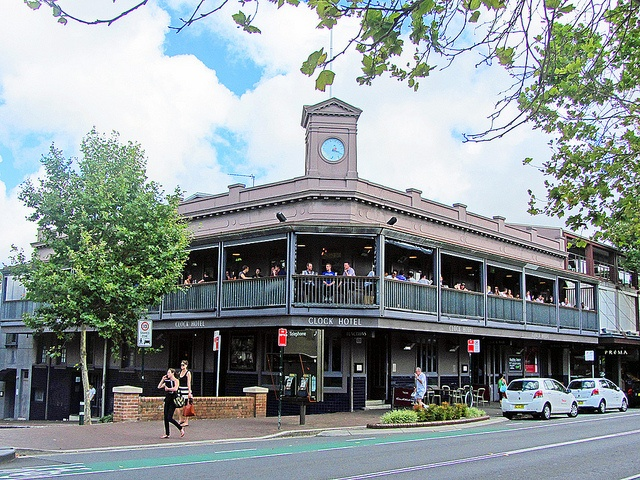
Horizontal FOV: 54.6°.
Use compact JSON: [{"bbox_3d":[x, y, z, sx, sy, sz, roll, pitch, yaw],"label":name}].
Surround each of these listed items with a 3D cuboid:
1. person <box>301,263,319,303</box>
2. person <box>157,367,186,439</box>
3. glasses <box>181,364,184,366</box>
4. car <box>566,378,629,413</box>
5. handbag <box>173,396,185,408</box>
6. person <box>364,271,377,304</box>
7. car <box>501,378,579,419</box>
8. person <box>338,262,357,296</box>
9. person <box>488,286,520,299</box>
[{"bbox_3d":[-0.449,1.689,24.189,0.557,1.715,1.217,0,-17,-2],"label":"person"},{"bbox_3d":[-4.213,4.605,17.481,0.740,1.920,1.530,4,-18,-14],"label":"person"},{"bbox_3d":[-4.109,3.738,18.565,0.045,0.069,0.087,-1,-18,0],"label":"glasses"},{"bbox_3d":[13.133,7.190,28.969,2.858,1.239,1.623,7,-11,-44],"label":"car"},{"bbox_3d":[-3.896,4.471,17.120,0.074,0.315,0.325,-12,-29,22],"label":"handbag"},{"bbox_3d":[1.956,1.944,23.796,0.505,1.012,0.394,-2,-17,4],"label":"person"},{"bbox_3d":[8.910,6.378,25.053,1.576,1.096,2.762,-9,-13,42],"label":"car"},{"bbox_3d":[1.122,1.651,24.151,0.708,1.636,0.802,-5,-17,13],"label":"person"},{"bbox_3d":[9.411,2.720,31.856,2.200,0.644,0.726,0,4,-44],"label":"person"}]
